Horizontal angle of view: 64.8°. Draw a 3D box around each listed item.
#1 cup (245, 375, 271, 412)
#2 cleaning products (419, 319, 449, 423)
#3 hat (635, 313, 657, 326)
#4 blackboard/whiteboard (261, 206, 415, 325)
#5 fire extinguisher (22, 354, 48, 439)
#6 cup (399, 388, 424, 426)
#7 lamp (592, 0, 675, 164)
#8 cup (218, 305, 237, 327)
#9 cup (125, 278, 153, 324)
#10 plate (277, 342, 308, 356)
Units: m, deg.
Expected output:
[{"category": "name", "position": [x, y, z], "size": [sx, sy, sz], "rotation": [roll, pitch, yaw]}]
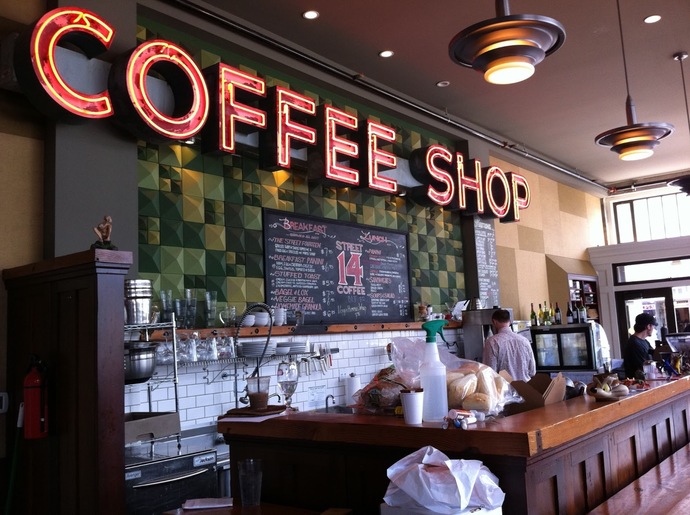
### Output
[{"category": "cup", "position": [-0.502, 0.782, 3.147], "size": [0.120, 0.191, 0.188], "rotation": [-1, -5, -10]}, {"category": "cleaning products", "position": [0.442, 0.560, 2.693], "size": [0.138, 0.494, 0.286], "rotation": [-3, -5, 8]}, {"category": "hat", "position": [3.673, 0.749, 6.595], "size": [0.182, 0.194, 0.244], "rotation": [6, 7, 39]}, {"category": "blackboard/whiteboard", "position": [-0.007, 0.149, 6.201], "size": [2.205, 1.246, 0.087], "rotation": [3, -7, -44]}, {"category": "fire extinguisher", "position": [-1.878, 0.847, 3.273], "size": [0.134, 0.462, 0.105], "rotation": [-4, -6, 26]}, {"category": "cup", "position": [0.331, 0.730, 2.642], "size": [0.137, 0.152, 0.144], "rotation": [0, -16, 0]}, {"category": "lamp", "position": [3.057, -1.764, 5.804], "size": [0.633, 1.729, 2.021], "rotation": [-5, -6, 29]}, {"category": "cup", "position": [-1.080, 0.537, 5.008], "size": [0.171, 0.233, 0.178], "rotation": [1, -8, 0]}, {"category": "cup", "position": [-1.453, 0.317, 3.877], "size": [0.106, 0.319, 0.226], "rotation": [-5, -6, 27]}, {"category": "plate", "position": [-0.492, 0.857, 5.111], "size": [0.383, 0.125, 0.104], "rotation": [1, -6, -32]}]
